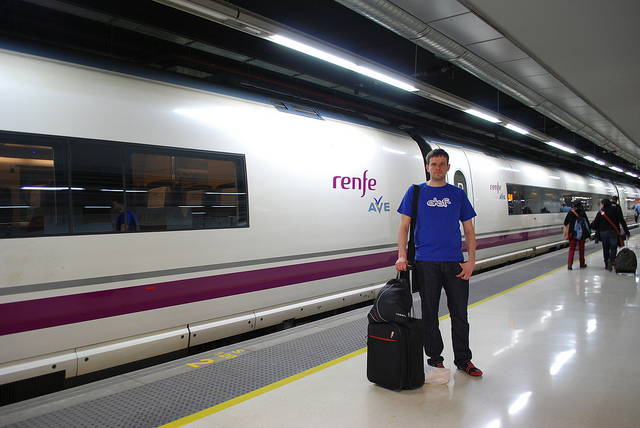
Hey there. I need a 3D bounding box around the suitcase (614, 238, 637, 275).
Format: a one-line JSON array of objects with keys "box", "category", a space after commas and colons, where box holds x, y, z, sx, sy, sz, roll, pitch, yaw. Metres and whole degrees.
[{"box": [7.390, 1.133, 8.329, 0.391, 0.592, 0.481, -1, 2, 39], "category": "suitcase"}]

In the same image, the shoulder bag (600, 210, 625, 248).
[{"box": [7.552, 0.374, 8.824, 0.727, 0.952, 0.275, -2, 1, -20], "category": "shoulder bag"}]

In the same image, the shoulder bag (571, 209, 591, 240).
[{"box": [6.860, 0.280, 8.998, 0.460, 0.796, 0.265, -2, 1, -16], "category": "shoulder bag"}]

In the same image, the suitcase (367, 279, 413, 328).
[{"box": [0.726, 0.872, 3.448, 0.340, 0.476, 0.561, 20, -20, -26], "category": "suitcase"}]

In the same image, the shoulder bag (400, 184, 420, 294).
[{"box": [0.995, 0.250, 3.650, 0.155, 1.102, 0.092, -2, 1, -22], "category": "shoulder bag"}]

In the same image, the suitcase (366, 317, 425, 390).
[{"box": [0.772, 1.377, 3.460, 0.401, 0.623, 0.539, 9, -13, -37], "category": "suitcase"}]
